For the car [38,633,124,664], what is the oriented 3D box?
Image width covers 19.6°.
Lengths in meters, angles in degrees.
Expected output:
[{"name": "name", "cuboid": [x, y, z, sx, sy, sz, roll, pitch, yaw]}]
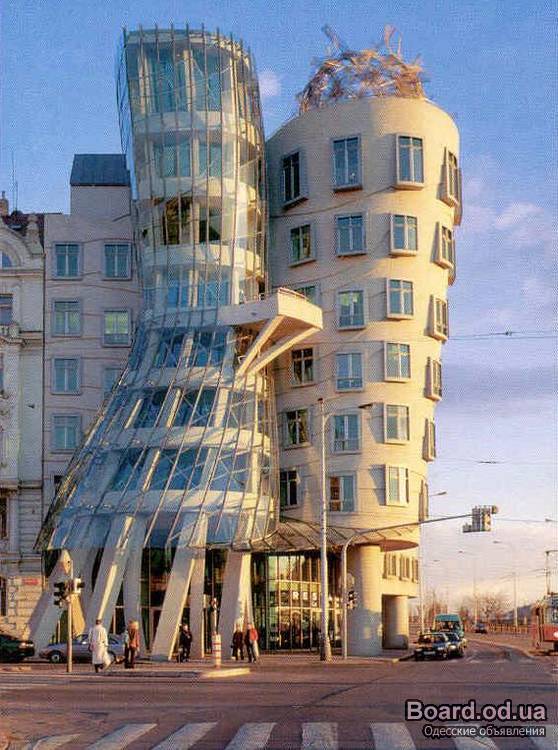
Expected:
[{"name": "car", "cuboid": [-7.365, 10.045, 60.533, 3.293, 1.094, 1.478, -1, -12, 10]}]

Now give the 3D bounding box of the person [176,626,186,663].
[{"name": "person", "cuboid": [-3.505, 9.816, 59.226, 0.396, 1.328, 1.423, 3, -7, -3]}]
